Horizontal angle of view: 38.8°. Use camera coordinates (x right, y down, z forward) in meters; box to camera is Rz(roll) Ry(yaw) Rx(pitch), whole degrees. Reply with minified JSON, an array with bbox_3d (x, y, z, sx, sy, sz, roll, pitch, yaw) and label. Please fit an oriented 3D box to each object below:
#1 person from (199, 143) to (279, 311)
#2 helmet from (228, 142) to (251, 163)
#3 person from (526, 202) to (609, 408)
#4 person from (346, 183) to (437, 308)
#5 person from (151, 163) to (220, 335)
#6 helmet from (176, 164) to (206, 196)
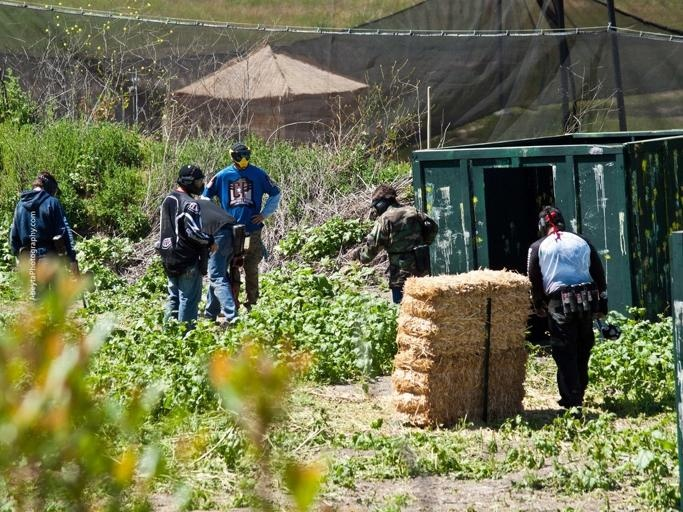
[{"bbox_3d":[-1.305,-0.382,12.890,0.883,2.513,0.611,-1,35,-4],"label":"person"},{"bbox_3d":[-1.318,-1.333,12.634,0.176,0.234,0.248,-8,-14,-14],"label":"helmet"},{"bbox_3d":[2.362,0.530,10.191,0.724,2.030,0.596,10,14,44],"label":"person"},{"bbox_3d":[0.713,0.079,11.958,0.945,2.034,0.824,-6,23,6],"label":"person"},{"bbox_3d":[-1.810,-0.125,11.235,0.540,1.756,0.481,-5,11,-23],"label":"person"},{"bbox_3d":[-1.751,-0.913,11.462,0.310,0.366,0.285,-15,27,-21],"label":"helmet"}]
